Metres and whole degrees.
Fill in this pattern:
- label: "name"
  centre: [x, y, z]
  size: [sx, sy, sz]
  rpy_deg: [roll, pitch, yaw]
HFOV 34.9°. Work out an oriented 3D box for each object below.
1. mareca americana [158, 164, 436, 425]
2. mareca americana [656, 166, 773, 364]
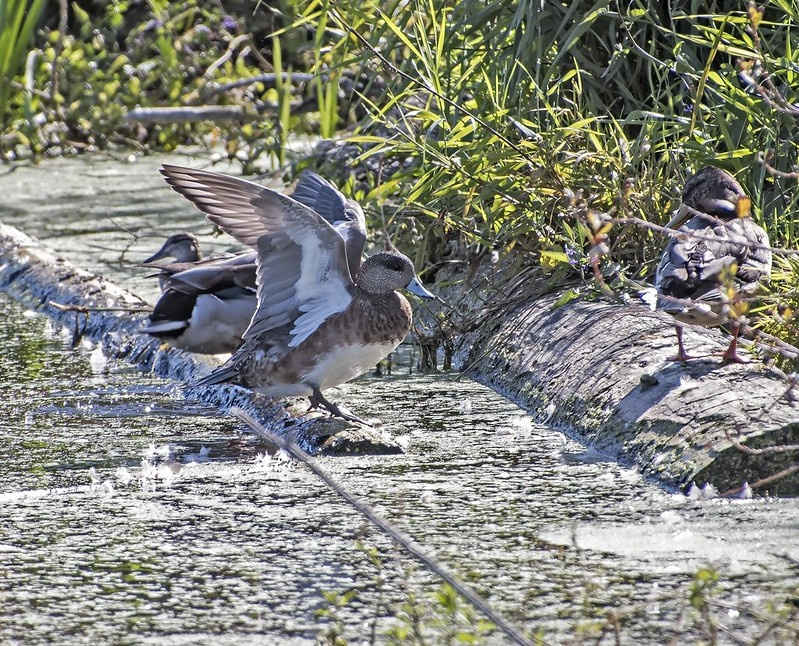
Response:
- label: "mareca americana"
  centre: [-0.393, -0.082, 4.551]
  size: [0.996, 0.813, 1.216]
  rpy_deg: [-2, -3, 11]
- label: "mareca americana"
  centre: [1.113, -0.240, 4.578]
  size: [0.470, 0.610, 0.786]
  rpy_deg: [4, 7, 18]
